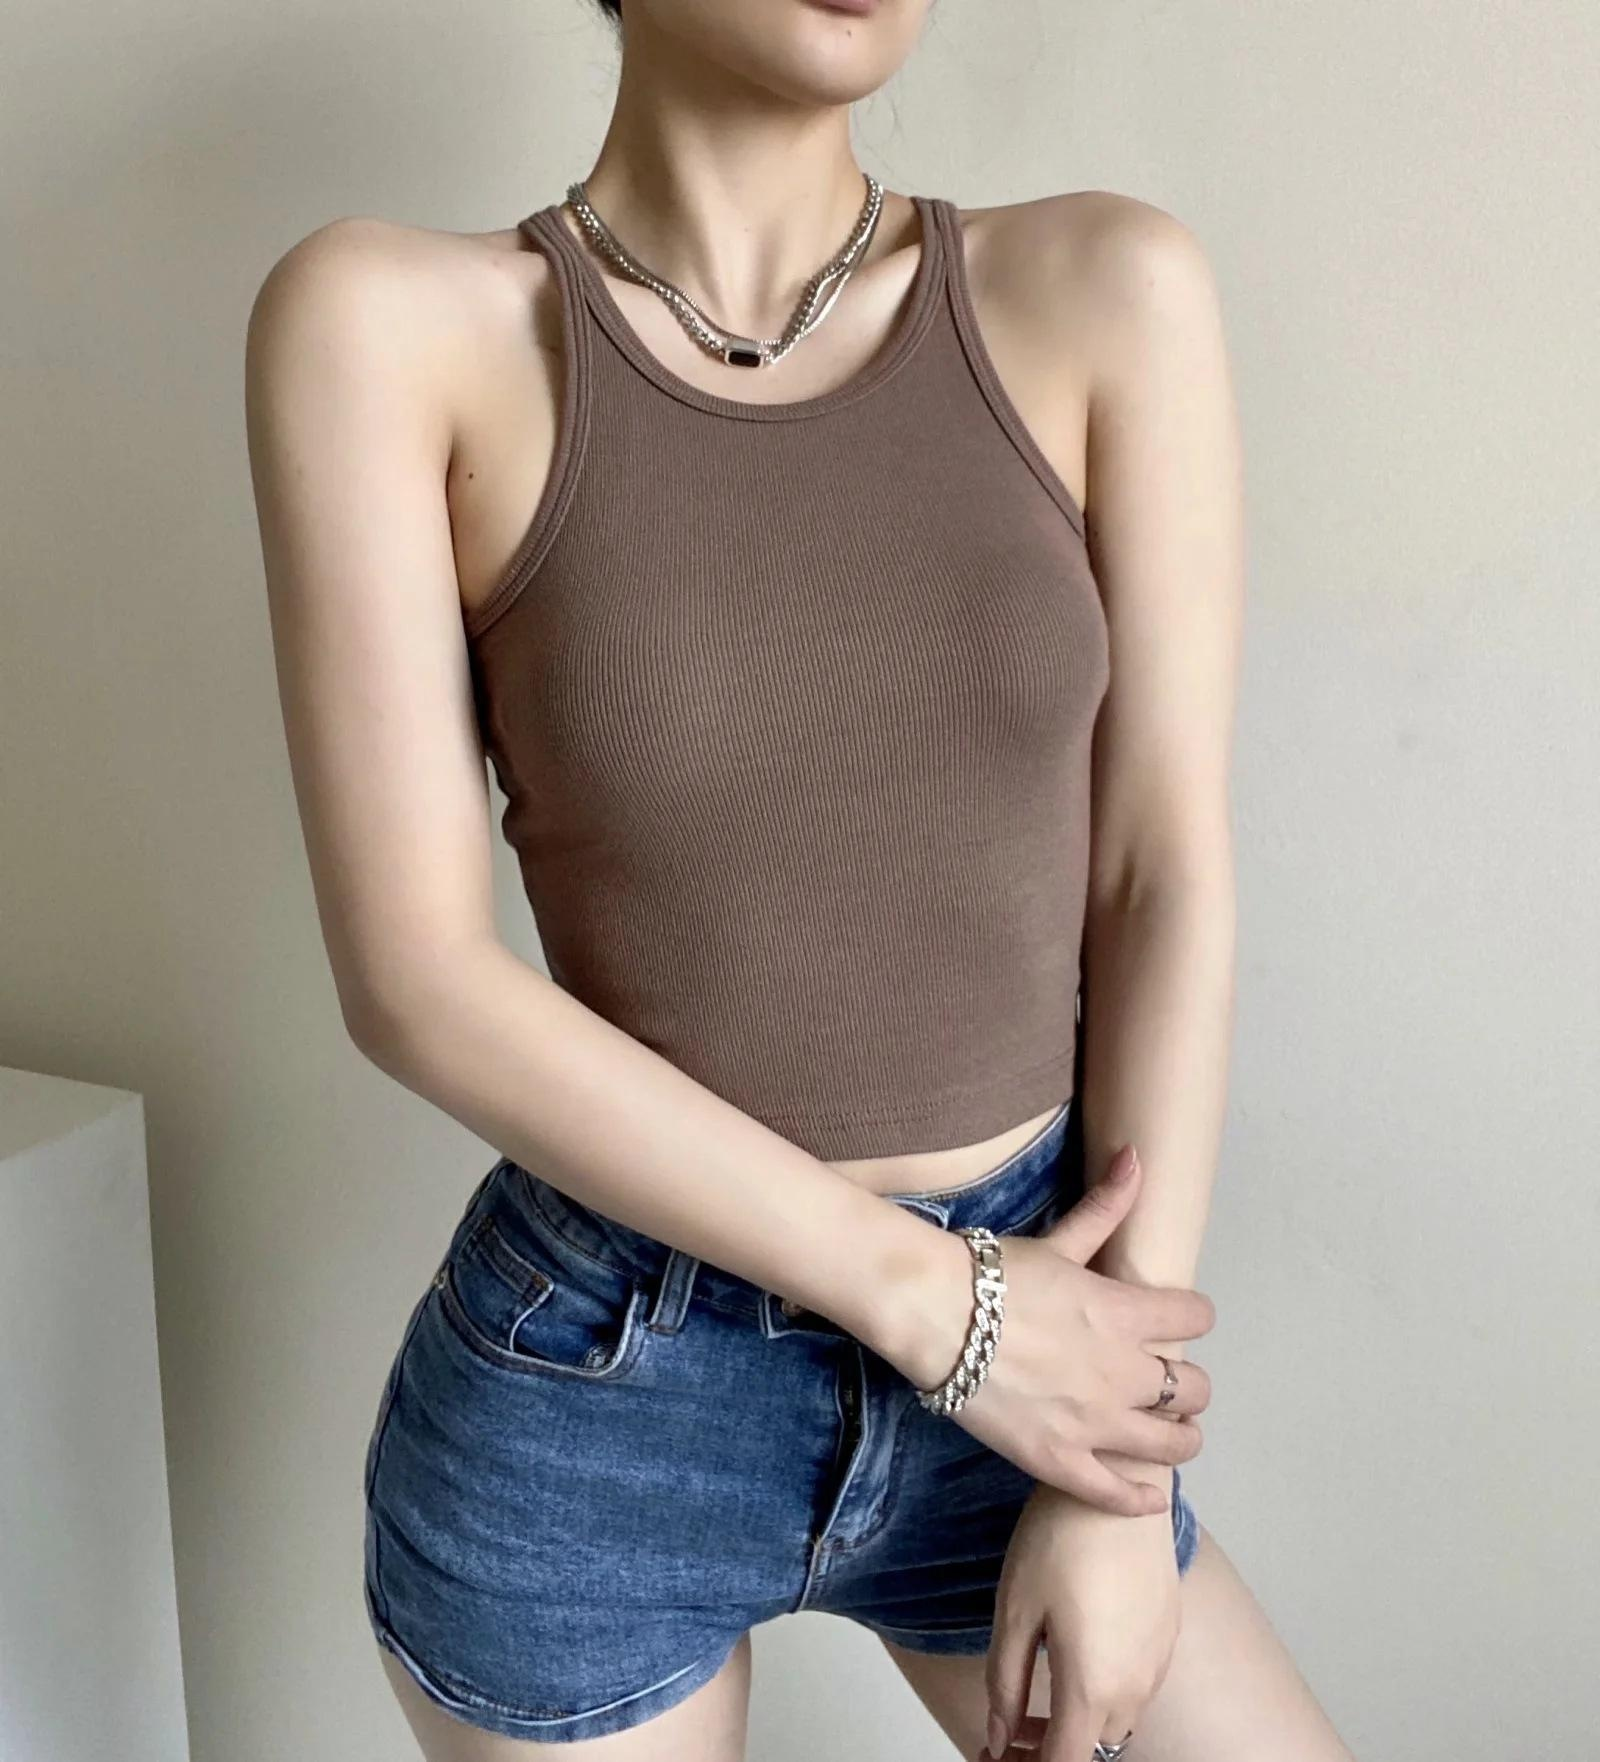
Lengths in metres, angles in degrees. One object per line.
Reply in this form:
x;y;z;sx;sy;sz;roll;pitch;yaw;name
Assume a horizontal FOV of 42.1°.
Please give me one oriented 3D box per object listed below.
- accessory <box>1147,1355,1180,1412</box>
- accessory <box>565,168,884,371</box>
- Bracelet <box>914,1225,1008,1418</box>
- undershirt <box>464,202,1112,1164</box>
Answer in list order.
0.208;0.287;1.187;0.012;0.035;0.026;18;28;26;accessory
-0.072;-0.356;1.170;0.153;0.163;0.031;7;53;-2;accessory
0.096;0.243;1.131;0.027;0.083;0.073;20;-25;-39;Bracelet
-0.015;-0.105;1.199;0.345;0.491;0.255;0;25;-8;undershirt
